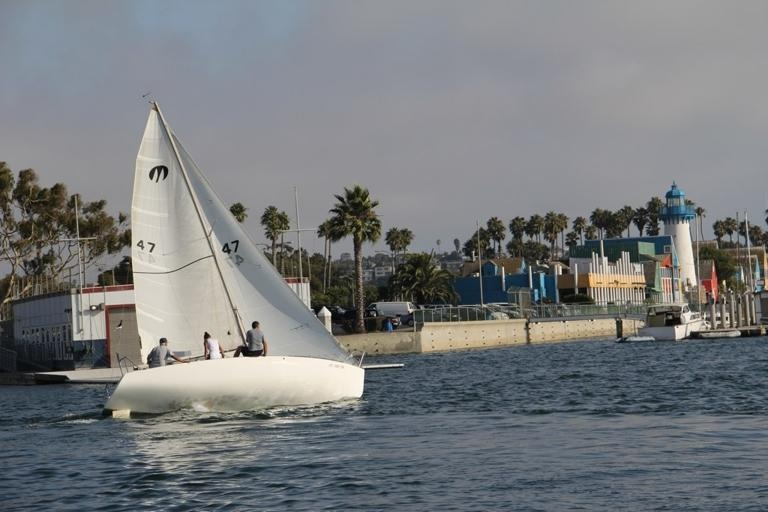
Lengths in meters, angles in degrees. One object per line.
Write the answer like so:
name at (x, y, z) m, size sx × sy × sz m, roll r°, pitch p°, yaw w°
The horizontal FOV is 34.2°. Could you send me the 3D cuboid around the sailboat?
sailboat at (-6.849, 0.075, 55.506) m, size 11.260 × 13.569 × 4.230 m, roll -3°, pitch -8°, yaw -3°
